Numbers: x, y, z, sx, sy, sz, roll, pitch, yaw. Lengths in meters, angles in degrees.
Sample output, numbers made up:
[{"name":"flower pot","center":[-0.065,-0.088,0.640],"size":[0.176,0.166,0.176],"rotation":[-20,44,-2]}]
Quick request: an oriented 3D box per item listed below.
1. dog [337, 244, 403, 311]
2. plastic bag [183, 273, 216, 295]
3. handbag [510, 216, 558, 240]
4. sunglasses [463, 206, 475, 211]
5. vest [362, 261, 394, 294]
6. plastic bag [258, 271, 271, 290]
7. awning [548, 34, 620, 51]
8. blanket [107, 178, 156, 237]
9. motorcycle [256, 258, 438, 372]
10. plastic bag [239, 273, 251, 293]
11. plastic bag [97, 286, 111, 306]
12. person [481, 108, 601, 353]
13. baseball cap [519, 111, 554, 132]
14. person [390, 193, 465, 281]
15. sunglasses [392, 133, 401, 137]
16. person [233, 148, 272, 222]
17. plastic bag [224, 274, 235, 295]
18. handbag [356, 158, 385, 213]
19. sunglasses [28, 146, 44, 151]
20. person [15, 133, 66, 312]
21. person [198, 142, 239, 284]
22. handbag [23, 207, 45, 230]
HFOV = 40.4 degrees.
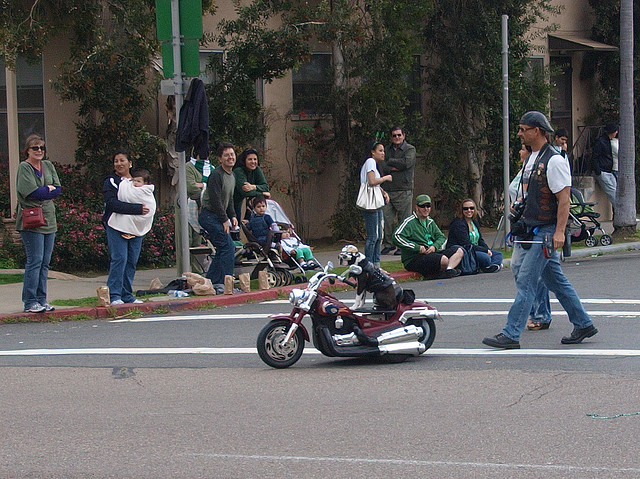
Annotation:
[{"name":"dog","center":[0.626,0.454,10.241],"size":[0.763,0.761,0.601],"rotation":[-2,0,0]},{"name":"plastic bag","center":[-1.884,0.709,13.824],"size":[0.384,0.128,0.306],"rotation":[15,36,-41]},{"name":"handbag","center":[2.552,-0.157,10.498],"size":[0.432,0.161,0.266],"rotation":[-6,10,-10]},{"name":"sunglasses","center":[2.695,-0.557,15.777],"size":[0.189,0.079,0.069],"rotation":[0,4,8]},{"name":"vest","center":[0.684,0.443,10.161],"size":[0.335,0.357,0.200],"rotation":[-1,4,5]},{"name":"plastic bag","center":[-0.914,0.671,14.421],"size":[0.156,0.287,0.239],"rotation":[-1,4,-5]},{"name":"awning","center":[7.760,-5.819,25.888],"size":[1.505,0.638,1.455],"rotation":[3,5,43]},{"name":"blanket","center":[-2.836,-0.474,13.154],"size":[0.684,0.888,0.274],"rotation":[-2,4,-15]},{"name":"motorcycle","center":[0.336,0.935,10.338],"size":[2.085,1.181,1.061],"rotation":[1,-6,-9]},{"name":"plastic bag","center":[-1.194,0.697,14.383],"size":[0.230,0.422,0.294],"rotation":[-3,4,-3]},{"name":"plastic bag","center":[-3.199,0.836,12.991],"size":[0.186,0.274,0.216],"rotation":[-2,4,-16]},{"name":"person","center":[2.729,-0.120,10.594],"size":[1.135,2.829,1.228],"rotation":[1,4,21]},{"name":"baseball cap","center":[2.622,-1.405,10.485],"size":[0.317,0.146,0.235],"rotation":[6,18,-2]},{"name":"person","center":[2.038,-0.007,15.935],"size":[1.180,1.629,1.059],"rotation":[-1,-2,15]},{"name":"sunglasses","center":[1.572,-2.134,17.932],"size":[0.199,0.077,0.094],"rotation":[3,5,45]},{"name":"person","center":[-1.230,-1.044,15.150],"size":[0.533,1.007,0.564],"rotation":[0,4,19]},{"name":"plastic bag","center":[-1.439,0.716,13.909],"size":[0.215,0.403,0.226],"rotation":[1,-5,1]},{"name":"handbag","center":[0.897,-0.743,15.418],"size":[0.405,0.539,0.341],"rotation":[0,4,20]},{"name":"sunglasses","center":[-3.975,-1.283,12.368],"size":[0.099,0.063,0.219],"rotation":[1,4,29]},{"name":"person","center":[-4.034,-0.221,12.581],"size":[0.588,2.523,0.482],"rotation":[-3,5,-30]},{"name":"person","center":[-1.577,-0.350,14.074],"size":[0.687,2.306,0.593],"rotation":[7,9,44]},{"name":"handbag","center":[-4.061,-0.301,12.367],"size":[0.302,0.301,0.137],"rotation":[-3,-1,-4]}]
